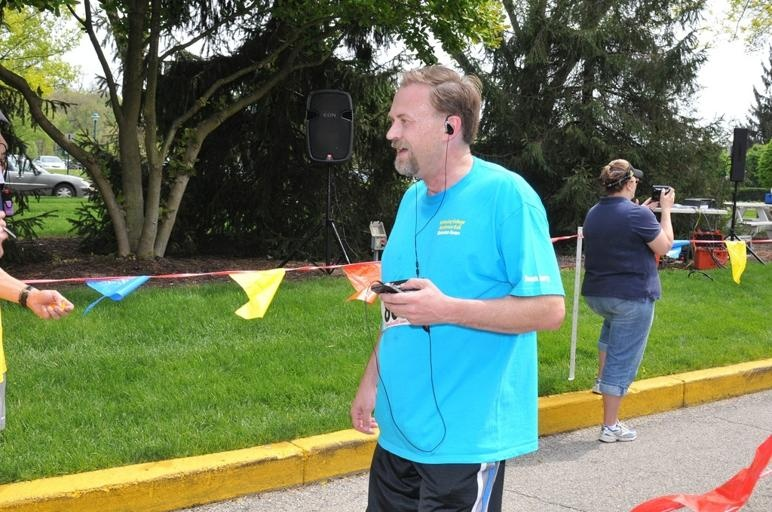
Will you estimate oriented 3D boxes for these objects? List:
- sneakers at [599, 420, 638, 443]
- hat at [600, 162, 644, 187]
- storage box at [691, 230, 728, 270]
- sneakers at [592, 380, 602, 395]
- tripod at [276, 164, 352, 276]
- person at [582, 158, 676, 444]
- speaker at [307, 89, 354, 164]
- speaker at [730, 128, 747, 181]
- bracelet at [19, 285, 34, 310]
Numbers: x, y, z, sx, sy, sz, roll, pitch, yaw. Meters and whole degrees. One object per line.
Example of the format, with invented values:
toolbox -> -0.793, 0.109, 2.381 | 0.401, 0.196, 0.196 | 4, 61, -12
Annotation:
sneakers -> 2.691, 2.022, 8.386 | 0.459, 0.296, 0.189 | -1, 2, -14
hat -> 2.795, -0.941, 8.448 | 0.431, 0.247, 0.290 | -29, 32, -21
storage box -> 7.751, -0.120, 17.134 | 0.824, 0.906, 0.497 | -1, 1, -34
sneakers -> 2.561, 1.597, 8.726 | 0.076, 0.162, 0.233 | 3, 3, 19
tripod -> -1.363, -0.805, 14.076 | 1.365, 2.135, 4.548 | 0, 4, -3
person -> 2.731, 0.516, 8.273 | 0.898, 3.210, 0.438 | 2, 4, 16
speaker -> -1.029, -2.344, 13.026 | 1.102, 1.899, 0.337 | -1, -10, -1
speaker -> 8.507, -2.425, 17.231 | 0.323, 1.327, 0.853 | 2, 4, 25
bracelet -> -3.105, 0.341, 6.154 | 0.112, 0.177, 0.184 | -2, 5, -37
